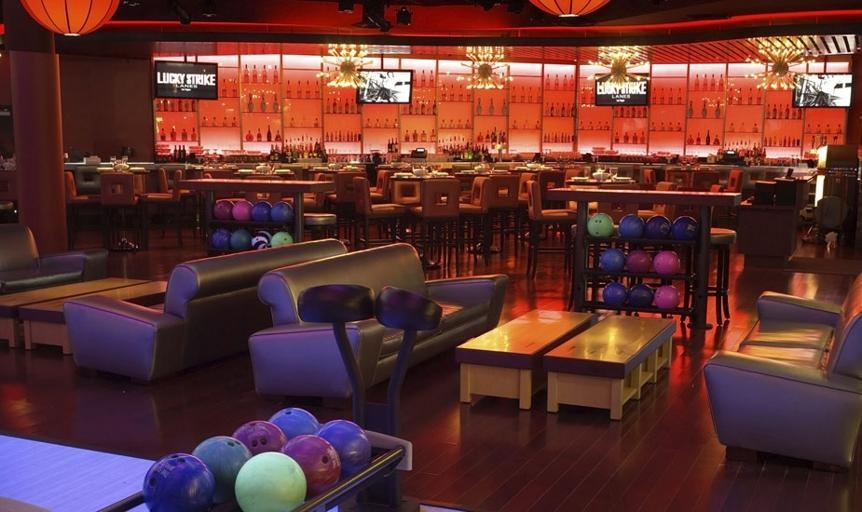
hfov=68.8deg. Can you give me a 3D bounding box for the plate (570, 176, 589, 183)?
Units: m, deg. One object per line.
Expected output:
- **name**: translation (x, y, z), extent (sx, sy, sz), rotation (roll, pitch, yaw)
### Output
- **plate**: translation (2.428, -1.236, 10.403), extent (0.282, 0.077, 0.184), rotation (3, 14, 10)

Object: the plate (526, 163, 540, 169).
- **plate**: translation (2.247, -1.994, 13.940), extent (0.260, 0.078, 0.256), rotation (-2, 4, 2)
